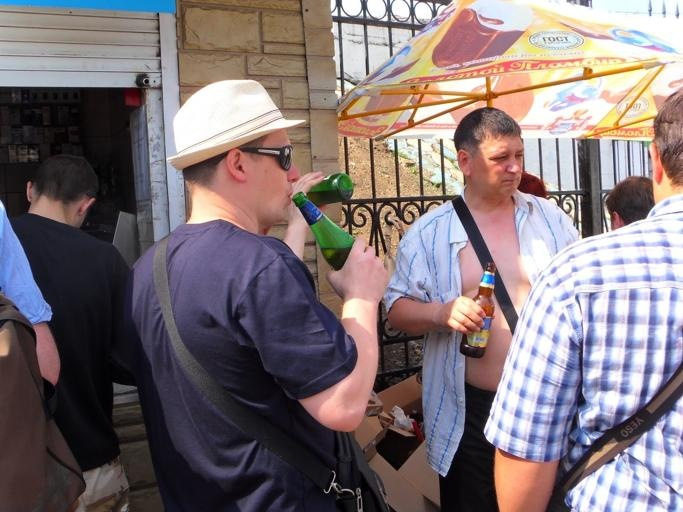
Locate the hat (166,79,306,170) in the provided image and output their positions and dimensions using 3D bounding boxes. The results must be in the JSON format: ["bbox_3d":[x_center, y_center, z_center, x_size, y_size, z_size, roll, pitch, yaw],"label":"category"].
[{"bbox_3d":[-0.368,-0.534,2.097,0.418,0.221,0.497,7,26,30],"label":"hat"}]
